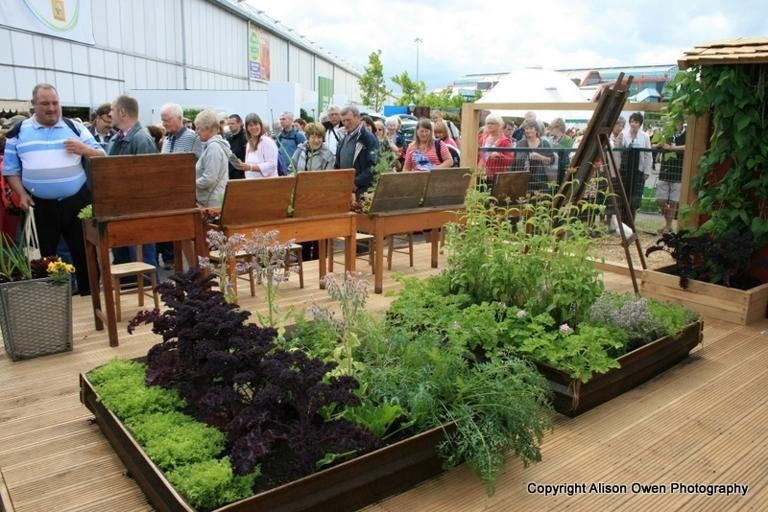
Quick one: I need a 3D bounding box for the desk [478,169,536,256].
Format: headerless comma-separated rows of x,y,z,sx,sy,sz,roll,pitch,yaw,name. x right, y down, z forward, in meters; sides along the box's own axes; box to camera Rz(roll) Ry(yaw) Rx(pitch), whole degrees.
2.091,-0.671,8.290,0.771,1.162,0.838,8,-5,20,desk

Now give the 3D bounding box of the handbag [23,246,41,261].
-4.165,-0.038,6.079,0.188,0.236,0.142,3,11,-34,handbag

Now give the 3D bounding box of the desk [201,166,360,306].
-1.199,-0.237,5.876,1.665,1.357,0.645,-11,26,-34,desk

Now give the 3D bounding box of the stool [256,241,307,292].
-1.077,0.127,5.370,0.489,0.445,0.372,-17,36,-35,stool

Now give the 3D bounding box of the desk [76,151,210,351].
-2.597,-0.118,5.639,1.116,1.897,0.910,-9,12,-33,desk

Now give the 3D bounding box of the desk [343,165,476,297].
0.411,-0.473,7.472,1.706,1.526,1.079,-9,6,-35,desk

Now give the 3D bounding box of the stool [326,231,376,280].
-0.588,-0.104,7.693,0.656,0.609,0.645,-19,32,-35,stool
